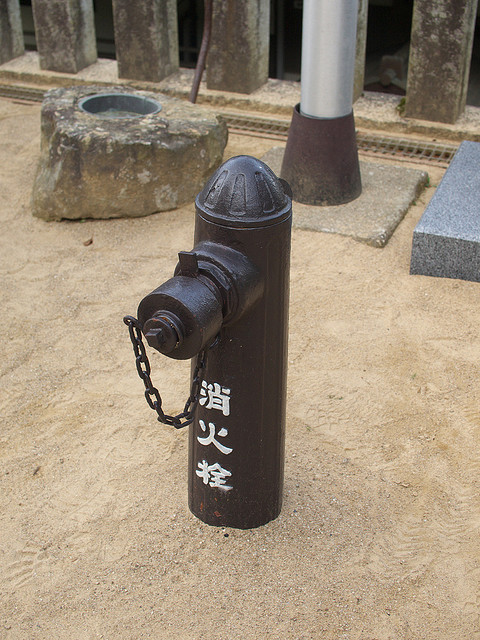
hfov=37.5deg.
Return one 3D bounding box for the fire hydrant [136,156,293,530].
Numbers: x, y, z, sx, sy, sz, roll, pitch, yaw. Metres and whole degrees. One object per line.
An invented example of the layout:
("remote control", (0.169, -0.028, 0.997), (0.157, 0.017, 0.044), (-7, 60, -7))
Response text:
("fire hydrant", (-0.051, 0.199, 1.963), (0.375, 1.247, 0.520), (0, 25, 3))
